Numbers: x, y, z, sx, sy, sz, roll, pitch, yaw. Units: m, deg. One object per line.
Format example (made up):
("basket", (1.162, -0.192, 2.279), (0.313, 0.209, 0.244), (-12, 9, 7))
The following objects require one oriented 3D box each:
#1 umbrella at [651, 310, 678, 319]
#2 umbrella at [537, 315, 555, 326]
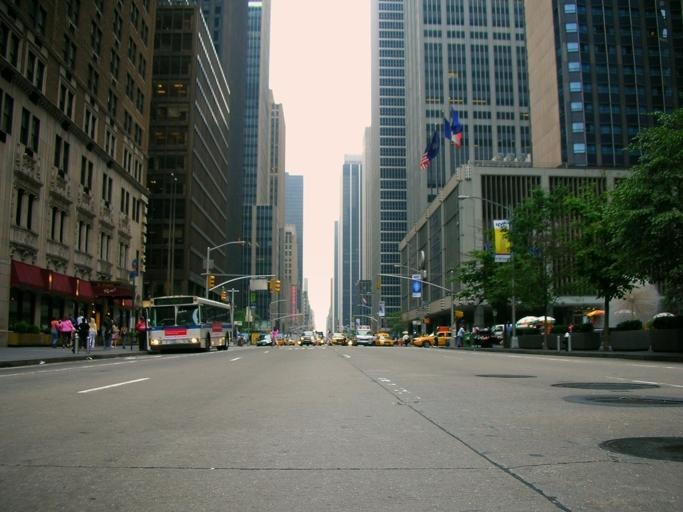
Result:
("umbrella", (20.799, 3.790, 45.121), (1.137, 0.637, 1.588), (7, -14, -34))
("umbrella", (18.044, 5.714, 61.757), (1.954, 0.860, 2.422), (-1, -6, 0))
